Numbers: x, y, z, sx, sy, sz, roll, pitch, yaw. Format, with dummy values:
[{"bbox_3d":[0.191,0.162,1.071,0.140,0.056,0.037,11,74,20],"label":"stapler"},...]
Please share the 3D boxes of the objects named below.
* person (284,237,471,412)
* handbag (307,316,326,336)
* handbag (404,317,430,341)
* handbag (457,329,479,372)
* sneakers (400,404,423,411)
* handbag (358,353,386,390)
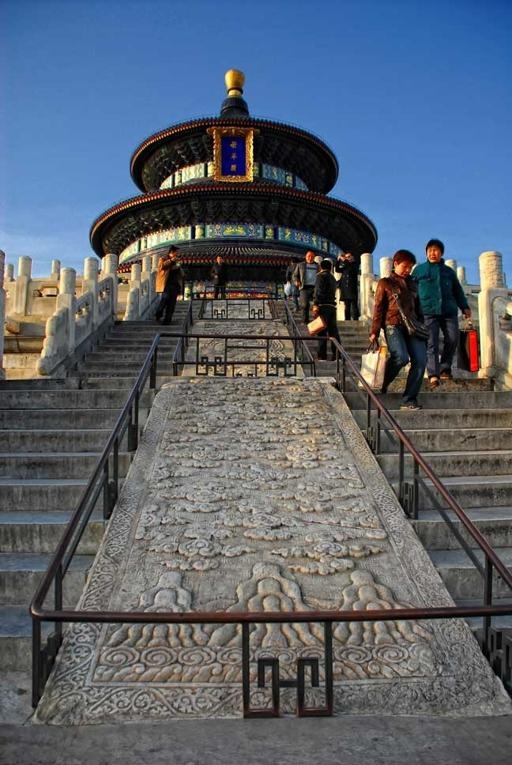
[{"bbox_3d":[1.880,-0.703,6.550,0.665,1.972,1.581,1,1,34],"label":"person"},{"bbox_3d":[0.907,-0.851,8.333,0.257,0.264,0.087,-32,-54,32],"label":"handbag"},{"bbox_3d":[1.671,-0.559,5.977,0.088,0.229,0.266,-38,-35,26],"label":"handbag"},{"bbox_3d":[2.724,-0.421,7.331,0.186,0.547,0.534,3,0,5],"label":"handbag"},{"bbox_3d":[1.689,0.270,6.212,0.230,0.099,0.093,-2,-1,13],"label":"sneakers"},{"bbox_3d":[1.256,-0.119,6.134,0.174,0.499,0.378,-1,4,-13],"label":"handbag"}]
